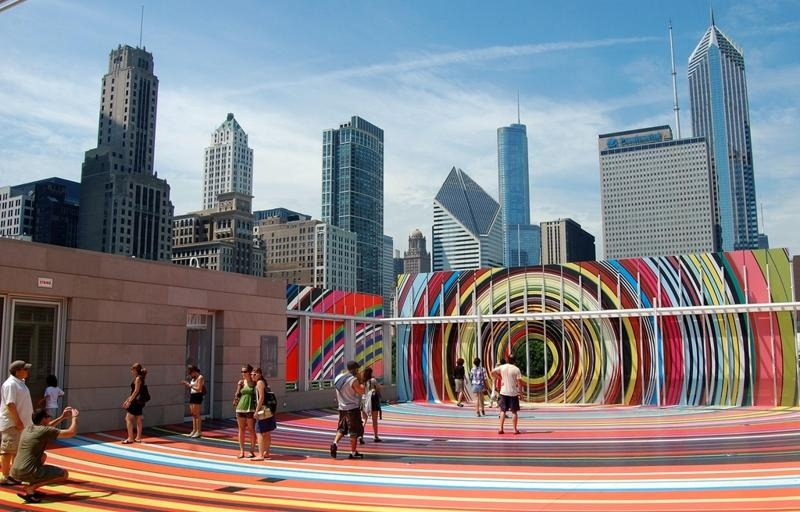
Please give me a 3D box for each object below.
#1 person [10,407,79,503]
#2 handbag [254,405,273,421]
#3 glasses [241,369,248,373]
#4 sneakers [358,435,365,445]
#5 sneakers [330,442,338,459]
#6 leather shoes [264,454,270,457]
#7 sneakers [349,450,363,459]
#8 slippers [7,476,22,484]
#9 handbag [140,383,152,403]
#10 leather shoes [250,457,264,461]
[{"bbox_3d":[-7.652,4.284,18.132,1.097,1.932,1.117,3,-10,-23],"label":"person"},{"bbox_3d":[-3.207,3.744,19.984,0.326,0.210,0.322,-4,-10,10],"label":"handbag"},{"bbox_3d":[-3.691,2.784,20.298,0.069,0.080,0.193,7,-12,-43],"label":"glasses"},{"bbox_3d":[-0.975,4.811,21.991,0.156,0.203,0.471,2,-19,7],"label":"sneakers"},{"bbox_3d":[-1.578,4.683,20.303,0.158,0.391,0.173,-1,3,0],"label":"sneakers"},{"bbox_3d":[-3.185,4.818,20.383,0.151,0.098,0.103,0,-22,-2],"label":"leather shoes"},{"bbox_3d":[-1.057,4.829,20.446,0.340,0.138,0.144,0,-4,-3],"label":"sneakers"},{"bbox_3d":[-8.232,4.833,18.199,0.296,0.060,0.285,15,-29,18],"label":"slippers"},{"bbox_3d":[-6.514,3.549,21.777,0.182,0.440,0.522,1,-9,-12],"label":"handbag"},{"bbox_3d":[-3.385,4.881,20.272,0.229,0.084,0.126,5,-12,-3],"label":"leather shoes"}]
